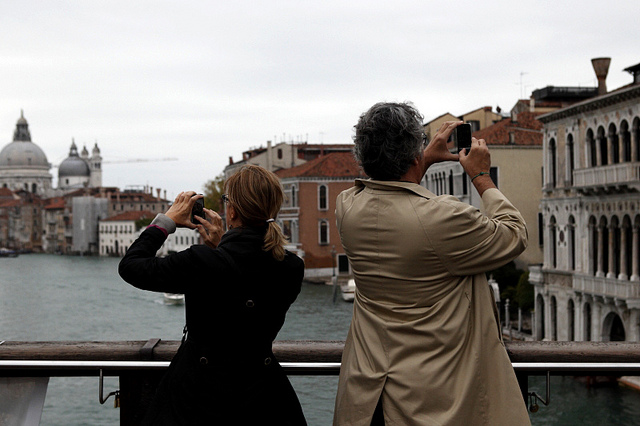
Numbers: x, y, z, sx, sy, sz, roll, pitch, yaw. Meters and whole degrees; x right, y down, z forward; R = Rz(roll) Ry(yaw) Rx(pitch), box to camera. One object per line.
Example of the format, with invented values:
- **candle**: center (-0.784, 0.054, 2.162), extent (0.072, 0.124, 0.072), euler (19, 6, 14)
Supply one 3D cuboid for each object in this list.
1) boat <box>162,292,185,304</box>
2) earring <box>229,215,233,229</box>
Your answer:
- **boat**: center (-8.079, 4.701, 65.849), extent (1.015, 0.640, 2.681), euler (-1, 2, -7)
- **earring**: center (-1.520, 0.150, 20.285), extent (0.045, 0.234, 0.130), euler (-2, 3, -26)
